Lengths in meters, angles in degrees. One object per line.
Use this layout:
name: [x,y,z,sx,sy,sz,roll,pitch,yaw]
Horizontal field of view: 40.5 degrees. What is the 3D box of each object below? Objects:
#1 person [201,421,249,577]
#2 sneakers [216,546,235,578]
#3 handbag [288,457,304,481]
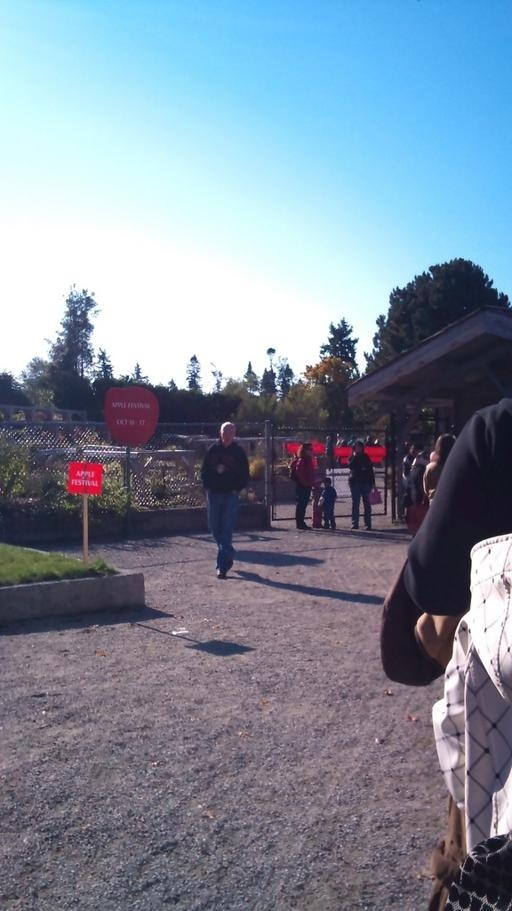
person: [-0.437,0.573,9.449,0.647,2.057,0.827,0,0,-5]
sneakers: [-0.418,1.411,9.127,0.128,0.233,0.495,2,11,7]
handbag: [0.847,0.283,15.135,0.140,0.492,0.324,1,-6,14]
